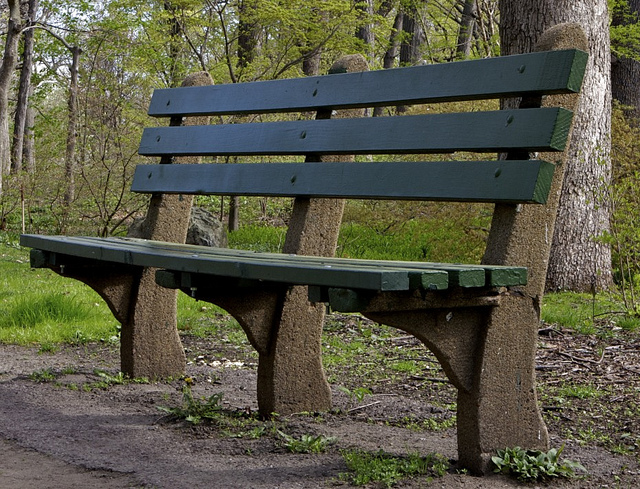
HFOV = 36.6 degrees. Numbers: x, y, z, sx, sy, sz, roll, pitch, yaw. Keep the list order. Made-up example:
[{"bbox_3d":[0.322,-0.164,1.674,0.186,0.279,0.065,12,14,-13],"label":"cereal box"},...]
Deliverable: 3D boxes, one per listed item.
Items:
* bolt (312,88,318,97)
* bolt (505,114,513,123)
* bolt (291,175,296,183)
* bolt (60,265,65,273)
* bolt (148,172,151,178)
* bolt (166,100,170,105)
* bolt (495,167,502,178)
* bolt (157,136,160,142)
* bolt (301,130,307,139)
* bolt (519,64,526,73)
[{"bbox_3d":[-0.031,-1.054,6.704,0.029,0.050,0.015,2,2,17],"label":"bolt"},{"bbox_3d":[1.191,-0.789,6.068,0.037,0.050,0.012,15,-2,44],"label":"bolt"},{"bbox_3d":[-0.179,-0.448,6.611,0.022,0.038,0.034,20,-32,5],"label":"bolt"},{"bbox_3d":[-1.851,0.171,6.942,0.032,0.051,0.018,9,14,27],"label":"bolt"},{"bbox_3d":[-1.277,-0.522,7.256,0.010,0.028,0.042,5,6,-39],"label":"bolt"},{"bbox_3d":[-1.146,-1.074,7.319,0.023,0.031,0.049,-3,2,-43],"label":"bolt"},{"bbox_3d":[1.116,-0.447,6.010,0.039,0.057,0.011,29,6,32],"label":"bolt"},{"bbox_3d":[-1.214,-0.801,7.270,0.023,0.032,0.031,3,-5,-25],"label":"bolt"},{"bbox_3d":[-0.106,-0.758,6.668,0.035,0.053,0.012,5,-1,24],"label":"bolt"},{"bbox_3d":[1.284,-1.108,6.090,0.029,0.045,0.011,15,-10,10],"label":"bolt"}]
